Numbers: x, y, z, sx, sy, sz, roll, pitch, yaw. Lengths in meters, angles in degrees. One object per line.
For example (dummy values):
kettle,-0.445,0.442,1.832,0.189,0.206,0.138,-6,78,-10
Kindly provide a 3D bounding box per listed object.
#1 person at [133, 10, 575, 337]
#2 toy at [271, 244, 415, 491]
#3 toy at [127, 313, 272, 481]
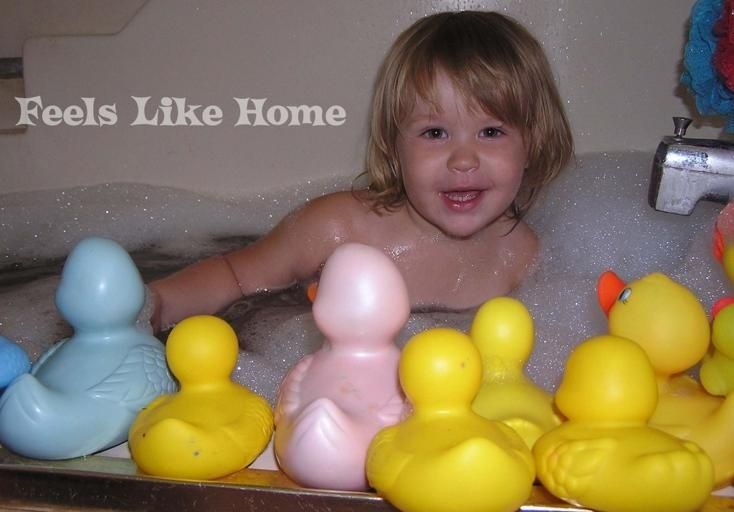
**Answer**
person,0.153,-0.182,1.632,0.743,0.781,0.412,7,21,9
toy,-0.004,0.125,0.854,0.175,0.276,0.272,9,40,6
toy,-0.197,0.173,0.855,0.142,0.144,0.193,4,28,1
